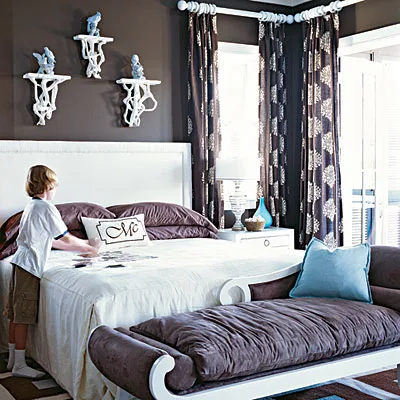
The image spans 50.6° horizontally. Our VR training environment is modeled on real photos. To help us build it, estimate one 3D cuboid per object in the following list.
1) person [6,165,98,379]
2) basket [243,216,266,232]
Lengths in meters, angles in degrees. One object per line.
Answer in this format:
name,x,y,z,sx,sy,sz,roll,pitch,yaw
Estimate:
person,-0.965,0.424,2.558,0.418,1.232,0.559,8,11,16
basket,0.567,0.254,4.368,0.151,0.105,0.147,-1,0,-10
